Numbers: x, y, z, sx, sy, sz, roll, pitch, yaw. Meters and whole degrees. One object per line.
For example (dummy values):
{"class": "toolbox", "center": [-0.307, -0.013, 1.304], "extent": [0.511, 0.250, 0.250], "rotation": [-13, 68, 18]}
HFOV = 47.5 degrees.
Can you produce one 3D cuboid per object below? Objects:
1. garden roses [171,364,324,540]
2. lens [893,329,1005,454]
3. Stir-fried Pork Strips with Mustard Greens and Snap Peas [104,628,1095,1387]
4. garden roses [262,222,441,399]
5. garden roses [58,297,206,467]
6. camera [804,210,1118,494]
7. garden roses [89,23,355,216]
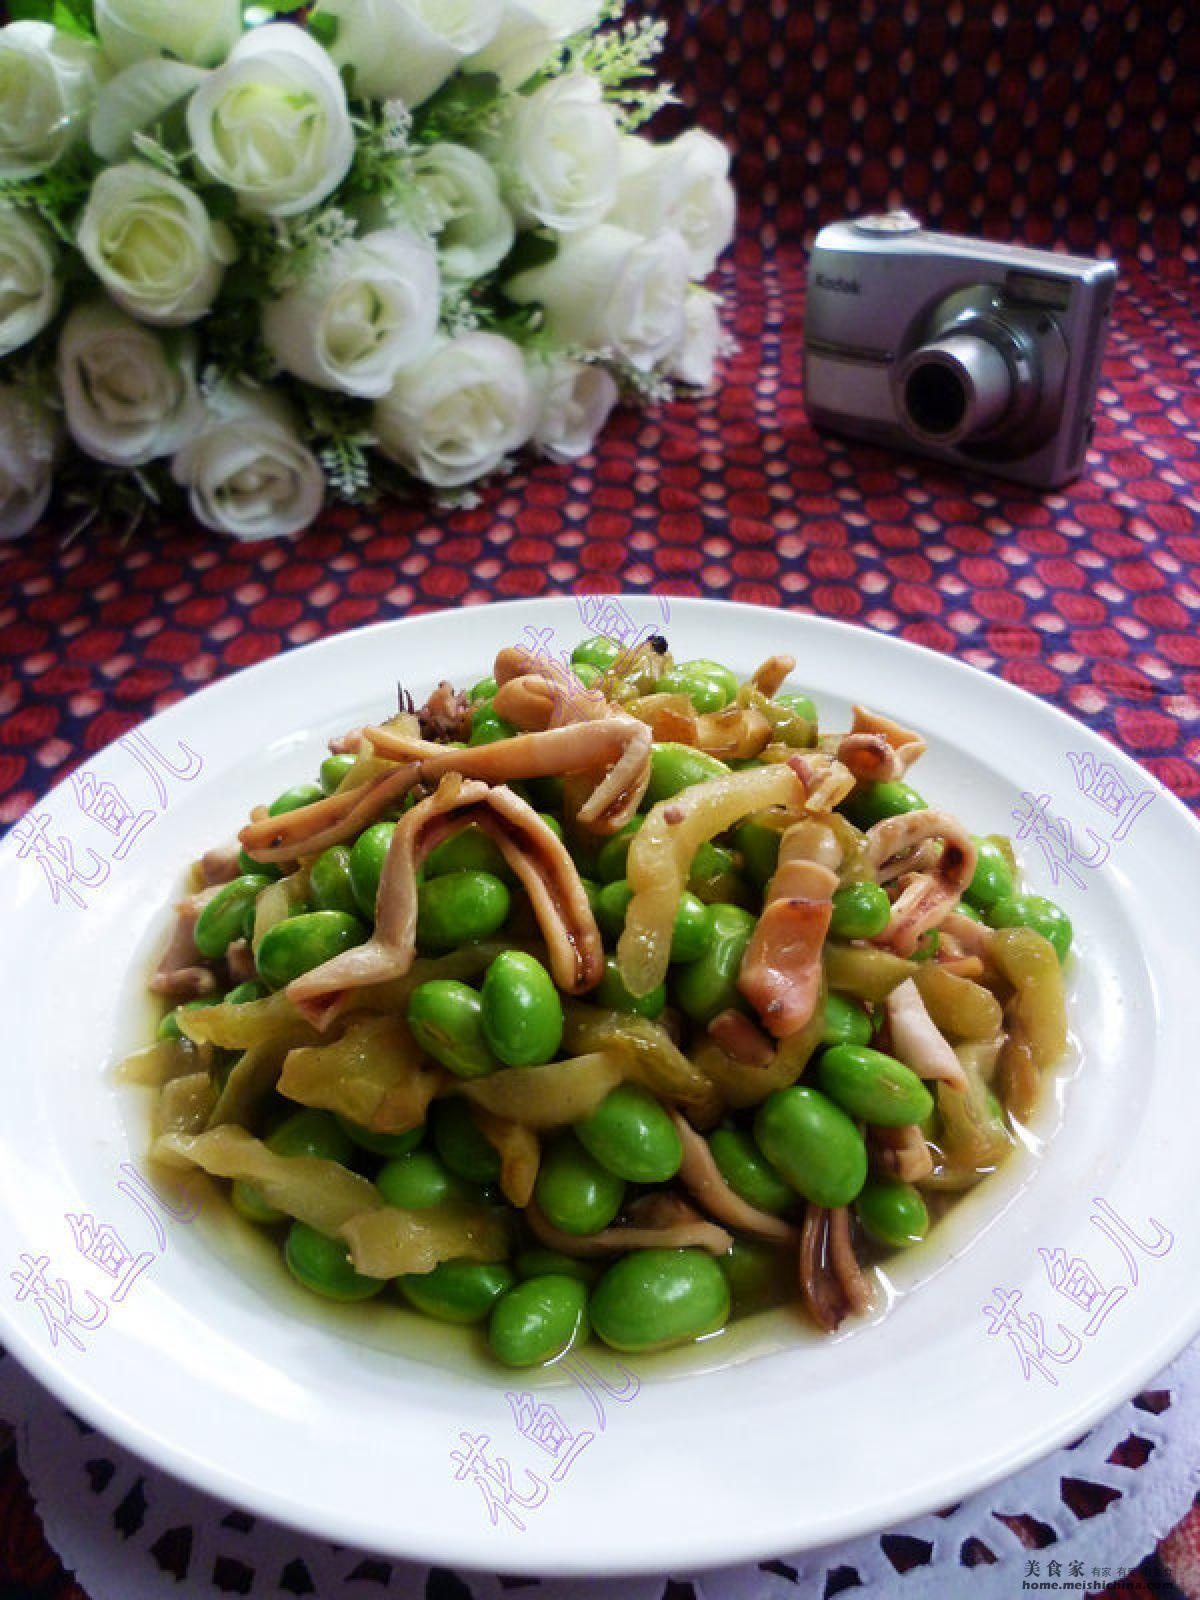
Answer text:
{"class": "garden roses", "center": [-0.390, -0.378, 1.492], "extent": [0.184, 0.157, 0.074], "rotation": [-9, 37, -1]}
{"class": "lens", "center": [0.376, -0.431, 1.452], "extent": [0.029, 0.101, 0.123], "rotation": [-32, 33, -34]}
{"class": "Stir-fried Pork Strips with Mustard Greens and Snap Peas", "center": [-0.010, 0.124, 0.745], "extent": [0.470, 0.170, 0.426], "rotation": [0, 37, -3]}
{"class": "garden roses", "center": [-0.246, -0.483, 1.369], "extent": [0.185, 0.141, 0.098], "rotation": [-13, 55, -9]}
{"class": "garden roses", "center": [-0.488, -0.438, 1.430], "extent": [0.169, 0.153, 0.070], "rotation": [-15, 23, -5]}
{"class": "camera", "center": [0.370, -0.508, 1.541], "extent": [0.207, 0.241, 0.355], "rotation": [-30, 45, -29]}
{"class": "garden roses", "center": [-0.315, -0.626, 1.207], "extent": [0.178, 0.176, 0.080], "rotation": [-26, 19, 6]}
